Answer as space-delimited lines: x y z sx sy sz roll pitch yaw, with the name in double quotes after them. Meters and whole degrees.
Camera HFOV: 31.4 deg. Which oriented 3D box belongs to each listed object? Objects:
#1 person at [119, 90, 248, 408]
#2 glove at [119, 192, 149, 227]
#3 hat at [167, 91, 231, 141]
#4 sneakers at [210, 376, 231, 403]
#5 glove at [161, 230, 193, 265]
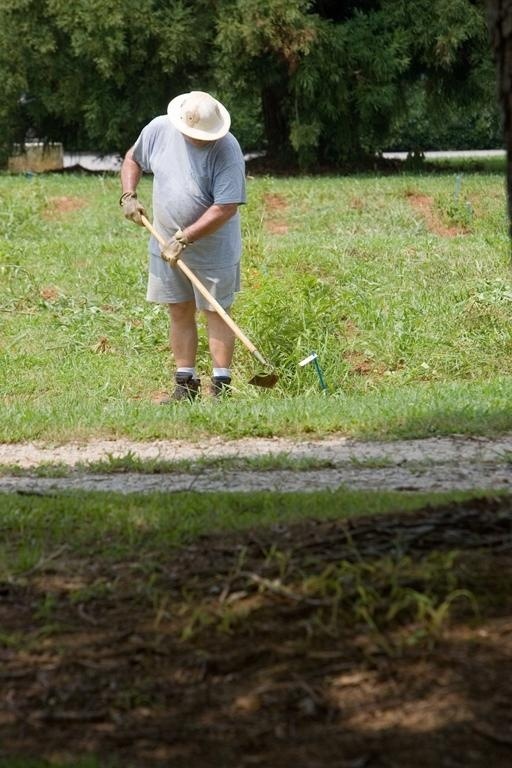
-0.448 -0.864 6.212 0.785 2.107 0.972 -3 11 -18 "person"
-0.826 -1.212 6.336 0.102 0.256 0.148 -20 -24 -45 "glove"
-0.367 -1.696 5.789 0.384 0.318 0.420 0 10 -5 "hat"
-0.261 0.038 6.616 0.154 0.154 0.165 -2 -24 -3 "sneakers"
-0.525 -0.880 5.934 0.219 0.087 0.187 -42 -3 9 "glove"
